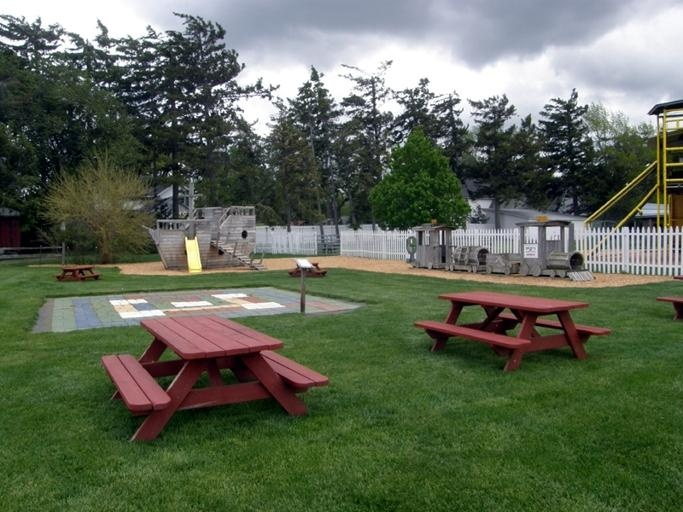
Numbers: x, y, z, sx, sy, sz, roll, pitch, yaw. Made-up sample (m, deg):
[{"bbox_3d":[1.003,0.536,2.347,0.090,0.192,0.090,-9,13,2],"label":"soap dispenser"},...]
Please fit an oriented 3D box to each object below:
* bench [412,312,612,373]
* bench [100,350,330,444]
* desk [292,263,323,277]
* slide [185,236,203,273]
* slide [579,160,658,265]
[{"bbox_3d":[2.702,1.194,7.175,1.300,0.368,1.289,-3,3,-33],"label":"bench"},{"bbox_3d":[-1.460,1.394,5.438,2.427,0.739,1.461,-2,5,-11],"label":"bench"},{"bbox_3d":[-1.301,0.654,20.465,0.767,0.341,1.137,1,2,4],"label":"desk"},{"bbox_3d":[-8.007,-0.144,26.447,0.822,1.679,2.198,-3,5,-16],"label":"slide"},{"bbox_3d":[18.773,-3.619,32.136,2.505,4.914,31.035,2,5,31],"label":"slide"}]
